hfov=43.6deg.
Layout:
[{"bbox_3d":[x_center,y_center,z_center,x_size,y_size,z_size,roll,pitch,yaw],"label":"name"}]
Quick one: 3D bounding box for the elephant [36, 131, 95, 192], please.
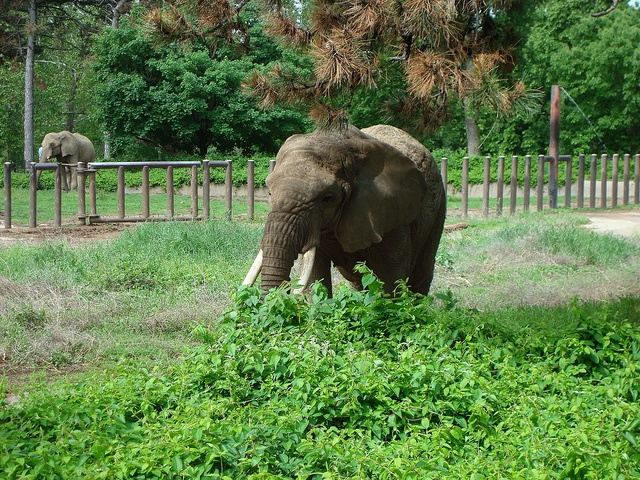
[{"bbox_3d":[-8.653,-2.589,27.178,1.128,2.112,2.712,-2,1,26],"label":"elephant"}]
